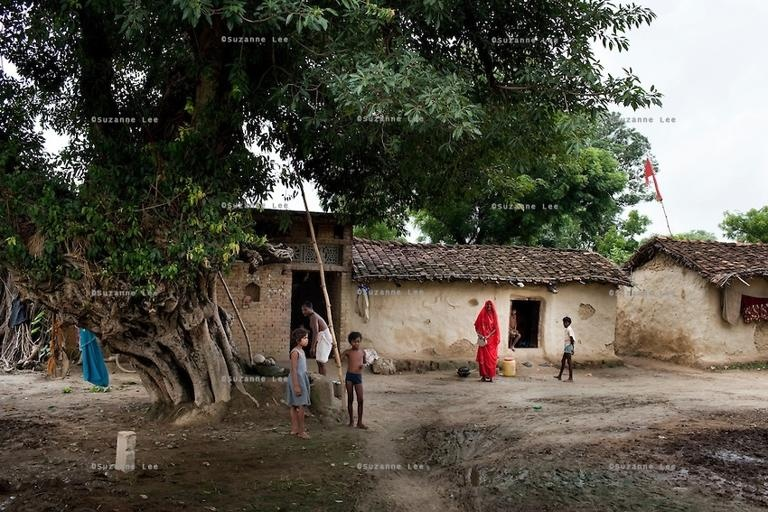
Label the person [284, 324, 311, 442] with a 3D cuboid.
[{"bbox_3d":[-1.632,2.341,10.869,0.394,1.962,0.638,0,5,-10],"label":"person"}]

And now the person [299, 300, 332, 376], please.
[{"bbox_3d":[-1.628,2.156,14.306,0.699,2.055,0.637,5,8,30],"label":"person"}]

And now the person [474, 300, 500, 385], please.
[{"bbox_3d":[2.891,2.386,16.357,0.617,2.135,1.063,2,5,9],"label":"person"}]

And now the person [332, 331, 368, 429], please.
[{"bbox_3d":[-0.603,2.403,11.672,0.436,1.898,0.950,1,5,-4],"label":"person"}]

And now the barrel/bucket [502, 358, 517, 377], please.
[{"bbox_3d":[3.673,3.272,17.138,0.437,0.533,0.463,1,-5,0],"label":"barrel/bucket"}]
